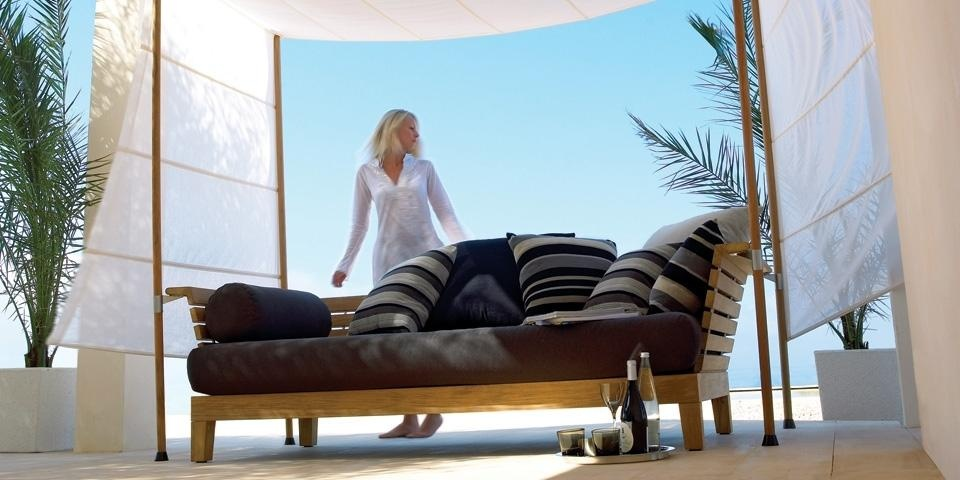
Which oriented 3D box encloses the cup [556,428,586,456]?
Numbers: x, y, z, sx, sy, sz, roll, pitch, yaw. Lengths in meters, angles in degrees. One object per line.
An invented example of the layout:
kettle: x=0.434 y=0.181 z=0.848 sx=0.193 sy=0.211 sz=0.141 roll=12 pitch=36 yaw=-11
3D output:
cup: x=0.526 y=1.158 z=3.720 sx=0.165 sy=0.114 sz=0.144 roll=-5 pitch=-9 yaw=9

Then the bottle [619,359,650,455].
bottle: x=0.856 y=0.928 z=3.587 sx=0.147 sy=0.482 sz=0.199 roll=-1 pitch=-16 yaw=-7

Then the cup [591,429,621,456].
cup: x=0.700 y=1.122 z=3.592 sx=0.157 sy=0.105 sz=0.135 roll=-4 pitch=-7 yaw=12
